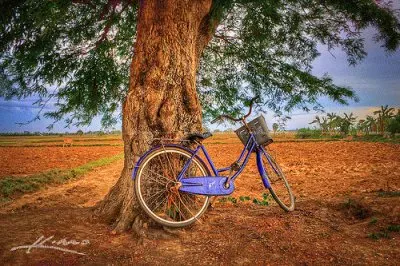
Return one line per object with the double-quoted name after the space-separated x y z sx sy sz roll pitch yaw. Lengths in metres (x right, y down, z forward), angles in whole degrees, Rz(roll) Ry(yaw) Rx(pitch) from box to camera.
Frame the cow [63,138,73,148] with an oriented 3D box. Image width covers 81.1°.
-17.125 1.232 30.476 0.936 1.151 3.436 -1 -2 -28 "cow"
